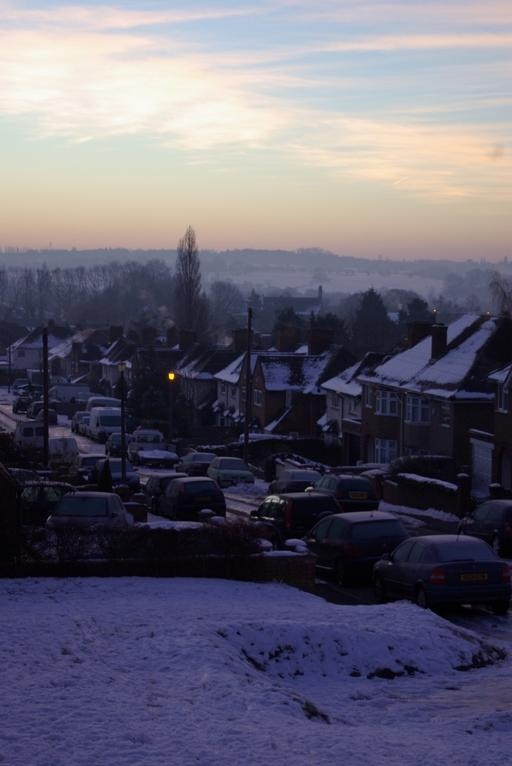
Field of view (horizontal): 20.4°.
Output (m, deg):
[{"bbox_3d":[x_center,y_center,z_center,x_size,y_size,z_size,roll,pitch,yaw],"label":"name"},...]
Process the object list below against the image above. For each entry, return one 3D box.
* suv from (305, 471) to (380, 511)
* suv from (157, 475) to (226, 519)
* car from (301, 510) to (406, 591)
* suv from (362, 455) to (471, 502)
[{"bbox_3d":[2.219,2.676,35.630,0.797,0.893,1.910,1,3,-17],"label":"suv"},{"bbox_3d":[-1.462,2.925,34.115,1.066,1.258,2.559,2,9,-19],"label":"suv"},{"bbox_3d":[1.733,2.947,25.684,0.963,0.930,1.806,-2,5,-20],"label":"car"},{"bbox_3d":[5.329,3.257,46.094,1.429,0.878,2.387,-1,1,-39],"label":"suv"}]
